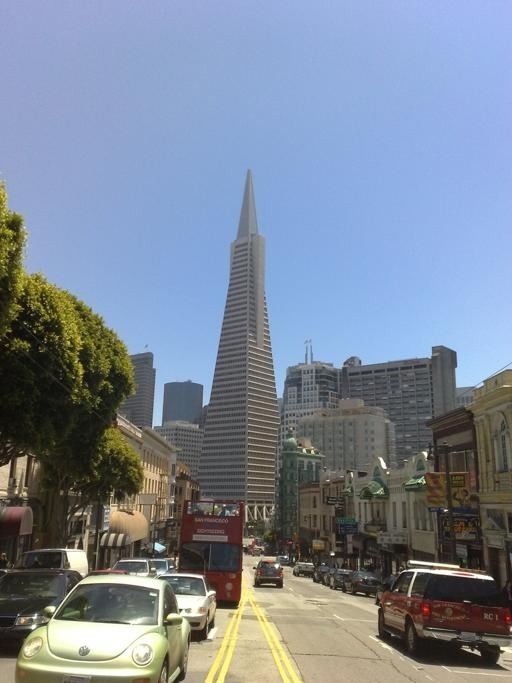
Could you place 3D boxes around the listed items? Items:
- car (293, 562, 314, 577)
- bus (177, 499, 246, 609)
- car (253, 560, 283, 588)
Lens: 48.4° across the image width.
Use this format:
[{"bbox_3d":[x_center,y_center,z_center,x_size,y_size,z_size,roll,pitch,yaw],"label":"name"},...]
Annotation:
[{"bbox_3d":[4.822,23.056,57.208,1.420,1.235,2.787,2,-12,0],"label":"car"},{"bbox_3d":[-1.590,6.751,18.841,1.589,2.404,4.756,-1,-24,5],"label":"bus"},{"bbox_3d":[0.806,14.420,35.493,1.059,1.091,2.441,2,-13,1],"label":"car"}]
